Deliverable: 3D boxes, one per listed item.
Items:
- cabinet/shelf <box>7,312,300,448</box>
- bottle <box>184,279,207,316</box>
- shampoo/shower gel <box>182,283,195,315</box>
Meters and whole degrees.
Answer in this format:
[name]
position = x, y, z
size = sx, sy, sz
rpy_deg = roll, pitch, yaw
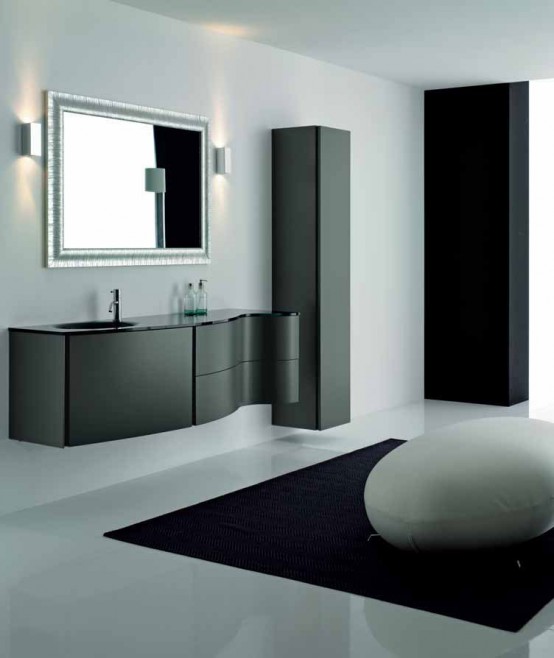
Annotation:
[cabinet/shelf]
position = -0.515, 0.206, 3.439
size = 0.466, 0.652, 2.050
rpy_deg = -1, -2, 34
[bottle]
position = -0.501, -0.192, 3.633
size = 0.164, 0.321, 0.085
rpy_deg = 2, 2, 30
[shampoo/shower gel]
position = -0.543, -0.192, 3.665
size = 0.081, 0.223, 0.270
rpy_deg = 0, -2, -9
